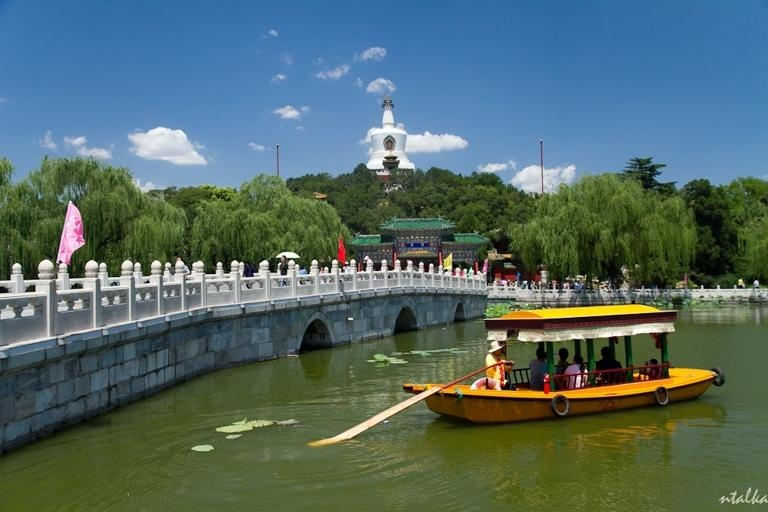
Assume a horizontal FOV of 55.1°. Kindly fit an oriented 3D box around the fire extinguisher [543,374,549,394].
[{"bbox_3d":[3.802,2.975,17.186,0.138,0.377,0.222,0,0,12],"label":"fire extinguisher"}]

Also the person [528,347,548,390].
[{"bbox_3d":[3.678,2.662,17.583,0.405,1.059,0.716,0,0,10],"label":"person"}]

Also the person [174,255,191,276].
[{"bbox_3d":[-7.847,0.341,28.757,0.698,0.762,0.720,4,5,26],"label":"person"}]

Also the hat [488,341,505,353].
[{"bbox_3d":[2.663,2.130,17.446,0.264,0.089,0.277,-28,-2,34],"label":"hat"}]

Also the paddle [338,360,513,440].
[{"bbox_3d":[1.002,3.592,18.043,5.730,0.844,0.508,-10,40,-39],"label":"paddle"}]
